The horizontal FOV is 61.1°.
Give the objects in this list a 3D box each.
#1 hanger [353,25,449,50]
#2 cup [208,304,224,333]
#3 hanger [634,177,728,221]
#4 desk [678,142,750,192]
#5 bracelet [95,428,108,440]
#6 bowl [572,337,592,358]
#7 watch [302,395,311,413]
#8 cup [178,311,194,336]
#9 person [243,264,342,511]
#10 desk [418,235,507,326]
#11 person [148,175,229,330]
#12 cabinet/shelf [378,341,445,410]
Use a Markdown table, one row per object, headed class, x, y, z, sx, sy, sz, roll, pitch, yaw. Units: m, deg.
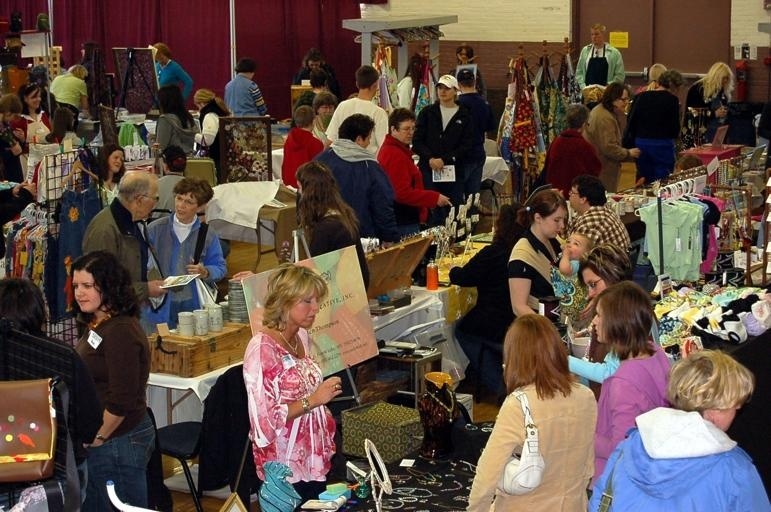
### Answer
| class | x | y | z | sx | sy | sz | roll | pitch | yaw |
| --- | --- | --- | --- | --- | --- | --- | --- | --- | --- |
| hanger | 0.317 | -3.261 | 9.705 | 0.932 | 0.267 | 1.034 | 5 | 13 | 33 |
| cup | -1.104 | 0.401 | 4.364 | 0.127 | 0.220 | 0.137 | -4 | 6 | 0 |
| hanger | 2.865 | -0.631 | 6.184 | 0.472 | 0.247 | 0.747 | 7 | 24 | 32 |
| desk | 3.876 | -1.052 | 7.715 | 0.725 | 0.728 | 0.391 | -19 | 32 | -35 |
| bracelet | -1.403 | 0.876 | 3.230 | 0.043 | 0.024 | 0.061 | 18 | 16 | -30 |
| bowl | 1.213 | 0.556 | 4.063 | 0.109 | 0.096 | 0.110 | -1 | 9 | 0 |
| watch | -0.373 | 0.693 | 3.062 | 0.019 | 0.062 | 0.052 | -2 | -12 | -17 |
| cup | -1.263 | 0.426 | 4.187 | 0.134 | 0.155 | 0.095 | 7 | 11 | 35 |
| person | -0.445 | 0.632 | 3.151 | 0.447 | 1.173 | 0.358 | -2 | 6 | -15 |
| desk | 0.625 | 0.204 | 5.822 | 0.582 | 0.288 | 1.168 | 9 | 45 | 16 |
| person | -1.526 | 0.175 | 4.923 | 0.643 | 1.562 | 0.537 | 4 | 22 | -12 |
| cabinet/shelf | 0.345 | 0.846 | 4.797 | 0.405 | 0.338 | 0.419 | -7 | 5 | 38 |
